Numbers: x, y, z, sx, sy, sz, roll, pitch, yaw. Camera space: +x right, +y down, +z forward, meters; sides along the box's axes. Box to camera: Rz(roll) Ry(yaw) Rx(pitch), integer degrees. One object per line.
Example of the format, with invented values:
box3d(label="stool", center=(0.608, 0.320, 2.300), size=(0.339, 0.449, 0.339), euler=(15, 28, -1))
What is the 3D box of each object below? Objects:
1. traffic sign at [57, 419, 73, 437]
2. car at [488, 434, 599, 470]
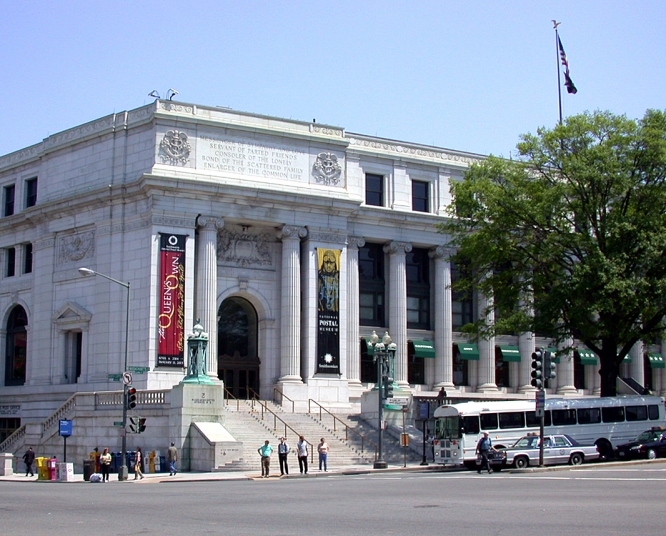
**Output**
box3d(label="traffic sign", center=(-13.936, 8.274, 56.955), size=(0.602, 0.963, 1.461), euler=(2, -12, -17))
box3d(label="car", center=(9.981, 8.623, 51.830), size=(5.533, 1.509, 1.529), euler=(3, -12, -20))
